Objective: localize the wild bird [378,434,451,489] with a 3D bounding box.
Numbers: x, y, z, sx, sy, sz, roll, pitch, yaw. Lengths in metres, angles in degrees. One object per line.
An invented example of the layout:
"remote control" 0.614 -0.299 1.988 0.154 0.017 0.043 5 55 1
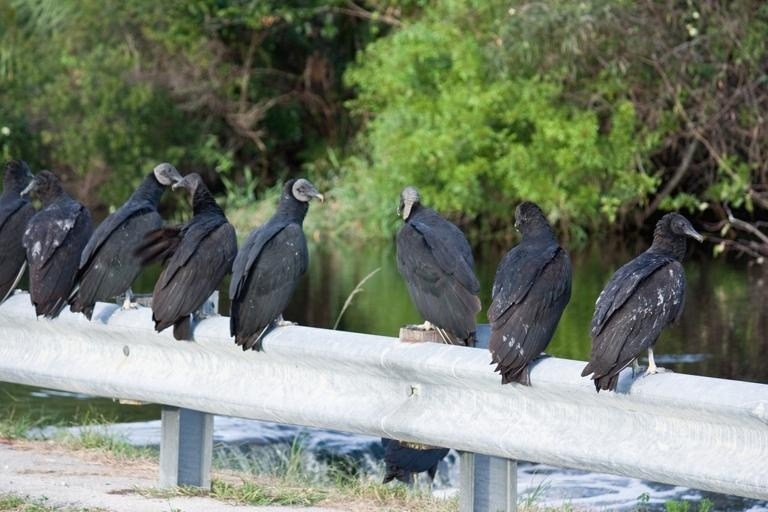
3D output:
"wild bird" 0.216 2.101 13.536 0.841 0.447 0.899 23 -5 4
